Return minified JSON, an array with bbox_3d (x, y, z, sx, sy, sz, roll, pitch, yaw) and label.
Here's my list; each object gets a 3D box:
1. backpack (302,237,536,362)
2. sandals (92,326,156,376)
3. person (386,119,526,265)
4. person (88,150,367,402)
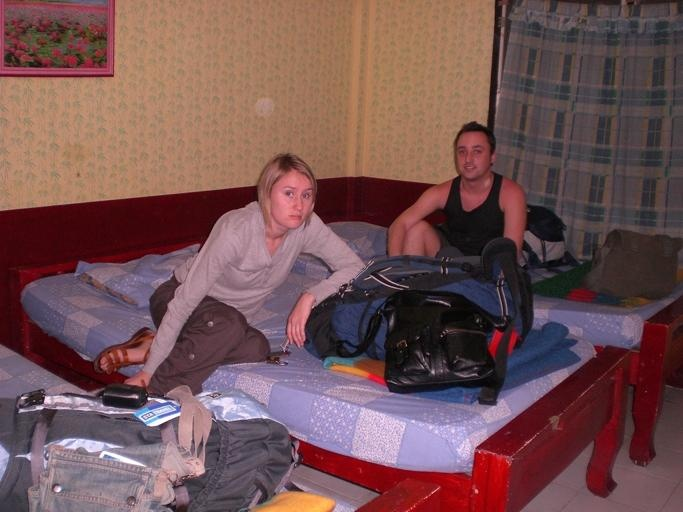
[{"bbox_3d":[0.369,0.172,2.525,0.834,0.366,0.615,-6,18,14],"label":"backpack"},{"bbox_3d":[-1.037,0.447,2.704,0.350,0.157,0.095,-31,13,-8],"label":"sandals"},{"bbox_3d":[0.832,-0.473,3.803,0.729,1.013,0.718,-26,48,-35],"label":"person"},{"bbox_3d":[-0.676,0.102,2.853,0.743,1.297,1.171,26,6,35],"label":"person"}]
